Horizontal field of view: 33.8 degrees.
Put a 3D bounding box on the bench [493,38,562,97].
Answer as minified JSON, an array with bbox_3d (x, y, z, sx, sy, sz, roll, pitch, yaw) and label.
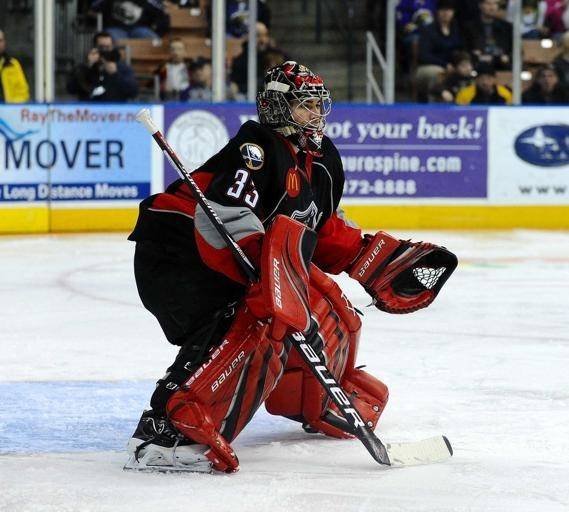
[{"bbox_3d":[2.254,-1.740,8.731,0.909,0.408,0.178,-2,0,-8],"label":"bench"}]

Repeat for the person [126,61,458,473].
[{"bbox_3d":[0.014,0.041,3.155,1.526,1.234,1.032,0,2,9],"label":"person"}]
